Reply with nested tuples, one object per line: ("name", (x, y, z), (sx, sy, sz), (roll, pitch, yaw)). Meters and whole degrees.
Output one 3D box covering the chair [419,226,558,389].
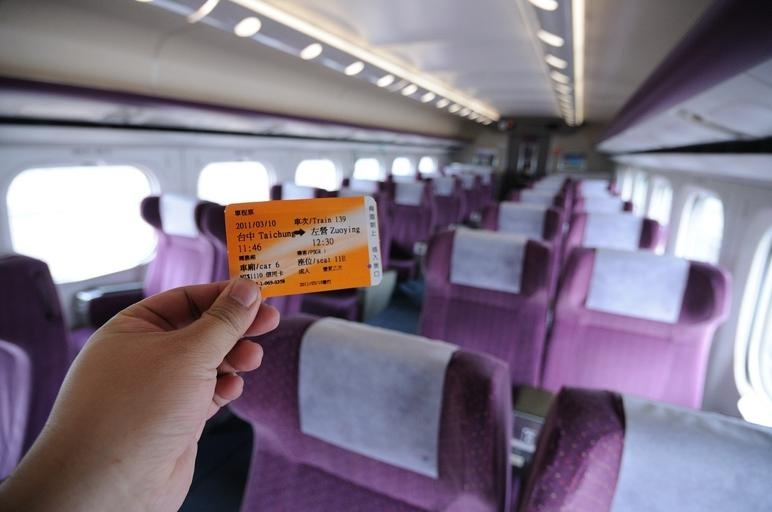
("chair", (0.654, 0.235, 3.269), (0.747, 1.094, 0.903), (9, 9, 17))
